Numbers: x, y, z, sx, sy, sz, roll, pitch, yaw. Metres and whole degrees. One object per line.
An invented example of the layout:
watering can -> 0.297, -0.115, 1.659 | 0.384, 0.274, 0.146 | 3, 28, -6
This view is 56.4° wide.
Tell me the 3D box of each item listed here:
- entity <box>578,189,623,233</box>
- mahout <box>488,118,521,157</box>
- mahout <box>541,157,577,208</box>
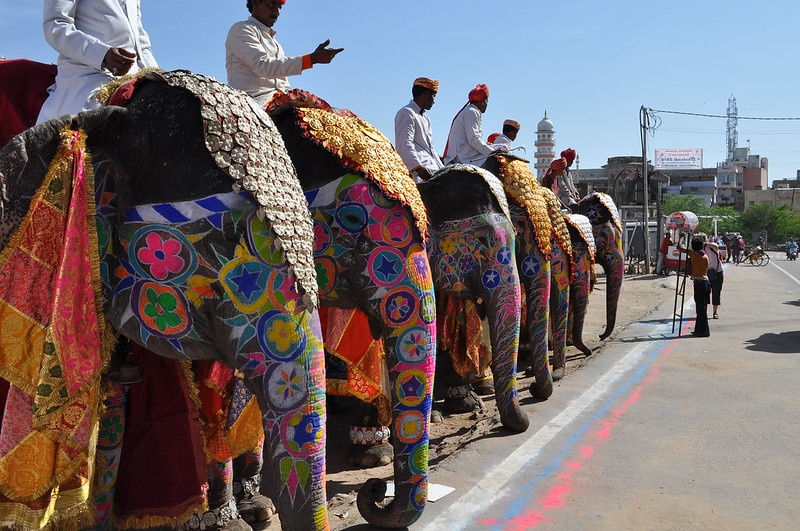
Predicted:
entity -> 2.900, -0.739, 10.685 | 0.688, 0.640, 0.547 | 2, 6, 39
mahout -> 1.248, -1.520, 8.876 | 0.430, 0.459, 0.355 | 8, 2, -25
mahout -> 2.476, -1.205, 11.366 | 0.499, 0.762, 0.404 | 0, 12, 41
